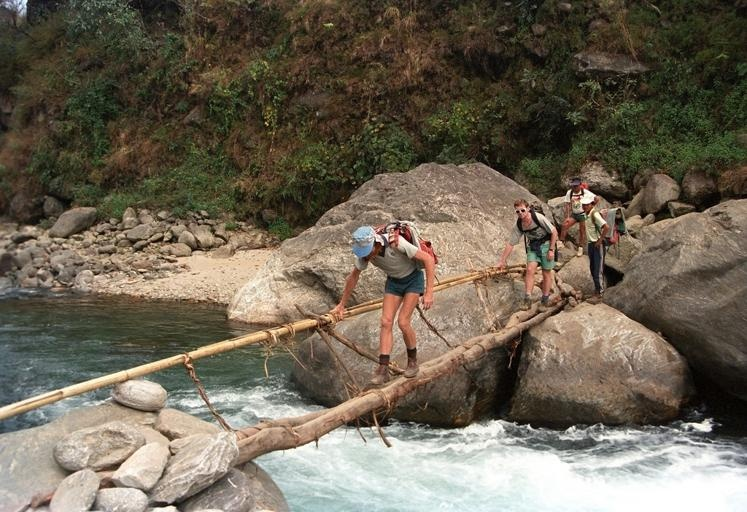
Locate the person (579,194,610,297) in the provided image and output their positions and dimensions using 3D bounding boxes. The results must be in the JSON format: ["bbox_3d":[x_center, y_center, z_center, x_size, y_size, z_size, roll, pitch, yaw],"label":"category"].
[{"bbox_3d":[4.625,-0.173,12.683,0.474,2.052,1.056,-4,14,19],"label":"person"}]

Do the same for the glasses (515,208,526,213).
[{"bbox_3d":[2.714,-0.848,11.361,0.186,0.105,0.115,2,17,41],"label":"glasses"}]

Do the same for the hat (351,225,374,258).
[{"bbox_3d":[-0.144,-0.263,9.382,0.308,0.237,0.449,-8,57,29],"label":"hat"}]

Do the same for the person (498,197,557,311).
[{"bbox_3d":[2.991,-0.092,11.745,1.033,2.081,0.744,-10,13,-3],"label":"person"}]

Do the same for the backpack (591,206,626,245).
[{"bbox_3d":[4.857,-0.600,12.696,0.433,0.827,0.818,5,4,-4],"label":"backpack"}]
